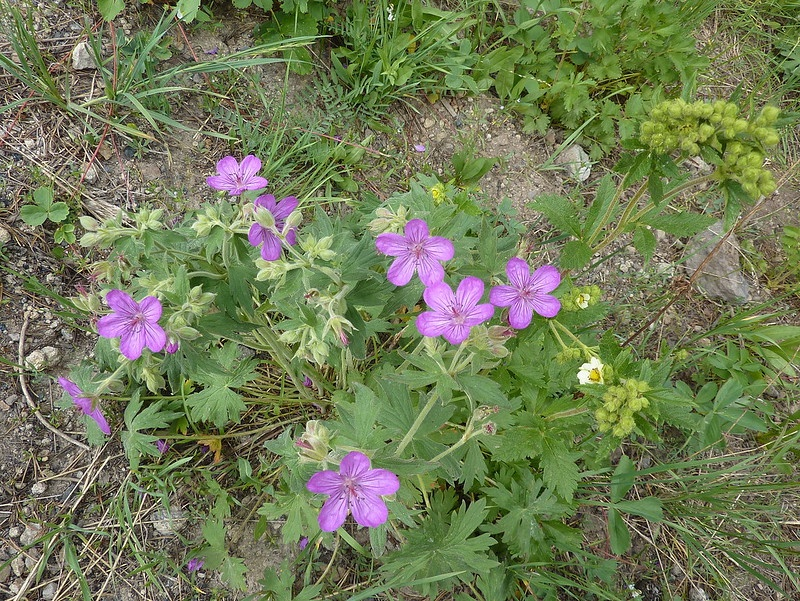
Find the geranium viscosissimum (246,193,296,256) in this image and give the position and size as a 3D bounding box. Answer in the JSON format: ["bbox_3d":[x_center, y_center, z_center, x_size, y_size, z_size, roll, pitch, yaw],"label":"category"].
[{"bbox_3d":[-0.637,-0.358,3.084,0.217,0.290,0.332,2,72,-1],"label":"geranium viscosissimum"}]

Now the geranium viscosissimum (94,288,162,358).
[{"bbox_3d":[-1.269,0.080,2.959,0.319,0.105,0.341,8,23,-16],"label":"geranium viscosissimum"}]

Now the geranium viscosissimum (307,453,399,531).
[{"bbox_3d":[-0.212,0.865,2.796,0.396,0.297,0.317,-4,72,-3],"label":"geranium viscosissimum"}]

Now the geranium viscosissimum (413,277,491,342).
[{"bbox_3d":[0.245,0.088,3.011,0.358,0.340,0.288,-5,72,-4],"label":"geranium viscosissimum"}]

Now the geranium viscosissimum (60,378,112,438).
[{"bbox_3d":[-1.781,0.614,3.493,0.437,0.166,0.062,56,37,-19],"label":"geranium viscosissimum"}]

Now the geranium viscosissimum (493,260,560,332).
[{"bbox_3d":[0.608,0.038,3.221,0.353,0.545,0.315,7,71,0],"label":"geranium viscosissimum"}]
